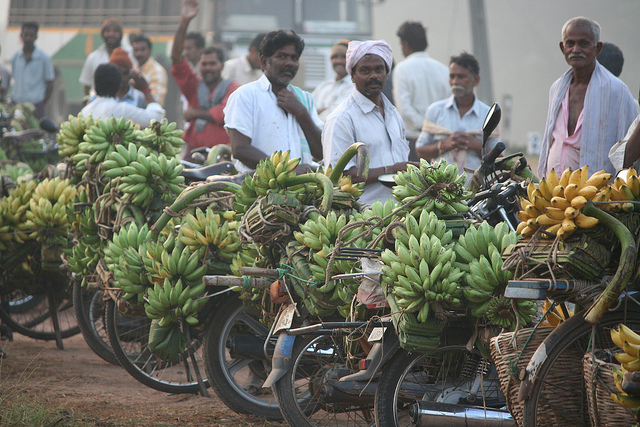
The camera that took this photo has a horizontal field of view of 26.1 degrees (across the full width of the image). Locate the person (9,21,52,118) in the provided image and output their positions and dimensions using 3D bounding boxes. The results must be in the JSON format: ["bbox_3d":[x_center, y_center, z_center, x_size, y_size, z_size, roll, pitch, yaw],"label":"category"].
[{"bbox_3d":[-4.547,-2.278,21.626,0.703,1.431,0.722,3,5,2],"label":"person"}]

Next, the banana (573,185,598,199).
[{"bbox_3d":[2.591,-0.188,13.684,0.307,0.134,0.091,-10,-5,1],"label":"banana"}]

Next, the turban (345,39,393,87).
[{"bbox_3d":[0.546,-1.695,15.570,0.504,0.543,0.285,3,5,-4],"label":"turban"}]

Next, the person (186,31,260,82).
[{"bbox_3d":[-1.308,-2.233,20.137,1.427,0.986,0.764,0,8,1],"label":"person"}]

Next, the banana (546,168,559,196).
[{"bbox_3d":[2.318,-0.272,13.790,0.074,0.302,0.090,7,-14,-3],"label":"banana"}]
